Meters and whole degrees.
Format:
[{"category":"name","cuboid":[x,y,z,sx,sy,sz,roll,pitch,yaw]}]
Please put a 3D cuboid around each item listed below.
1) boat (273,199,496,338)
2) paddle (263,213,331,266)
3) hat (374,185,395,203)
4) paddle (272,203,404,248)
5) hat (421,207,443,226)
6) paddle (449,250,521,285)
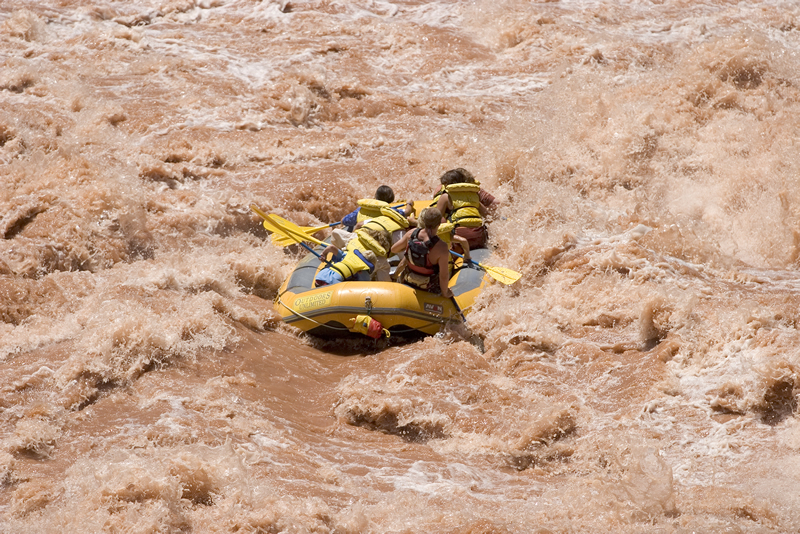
[{"category":"boat","cuboid":[-0.400,0.628,20.870,3.397,0.874,1.309,2,56,-3]},{"category":"paddle","cuboid":[-1.739,-0.537,21.914,0.256,0.689,1.245,-8,27,-45]},{"category":"hat","cuboid":[-0.247,-1.259,21.641,0.267,0.319,0.323,0,37,1]},{"category":"paddle","cuboid":[-0.587,-0.724,21.784,1.040,0.259,1.751,24,26,24]},{"category":"hat","cuboid":[0.526,-0.758,20.172,0.264,0.319,0.315,4,51,6]},{"category":"paddle","cuboid":[1.468,0.024,21.154,1.334,0.143,0.359,29,62,37]}]
